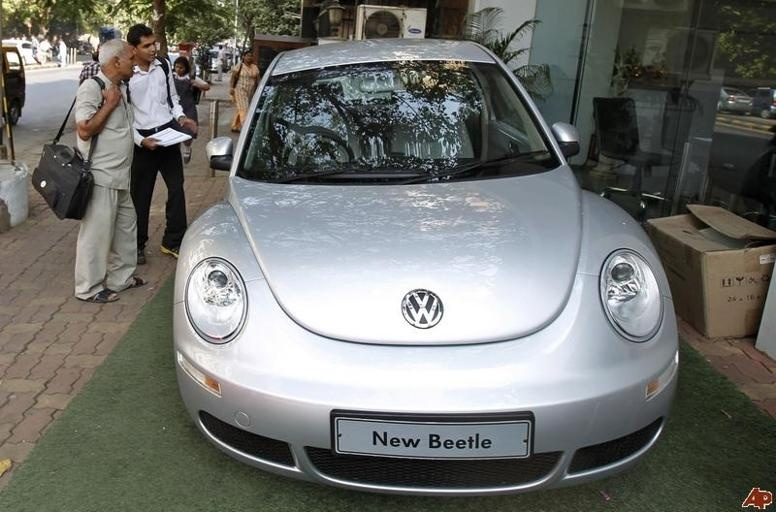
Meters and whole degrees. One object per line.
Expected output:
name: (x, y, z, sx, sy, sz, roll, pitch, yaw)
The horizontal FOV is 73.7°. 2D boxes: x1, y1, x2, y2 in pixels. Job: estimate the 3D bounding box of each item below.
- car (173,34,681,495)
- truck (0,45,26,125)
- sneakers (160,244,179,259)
car: (0.209, -0.092, 2.768, 2.501, 1.898, 2.092, 12, 24, 31)
truck: (-11.169, -5.112, 15.559, 0.380, 2.186, 2.178, -11, 22, -24)
sneakers: (-2.305, -0.040, 5.497, 0.242, 0.114, 0.091, 11, 23, 18)
